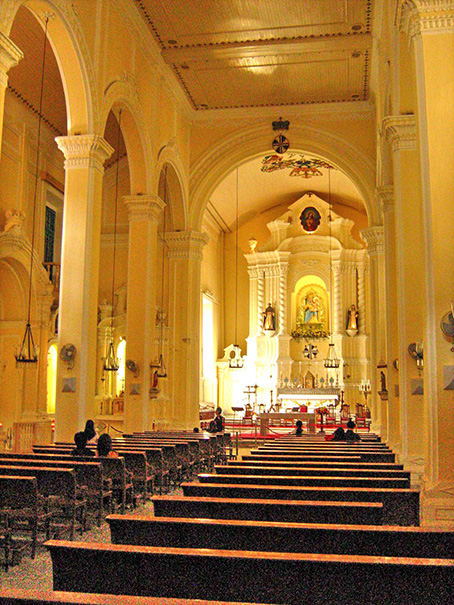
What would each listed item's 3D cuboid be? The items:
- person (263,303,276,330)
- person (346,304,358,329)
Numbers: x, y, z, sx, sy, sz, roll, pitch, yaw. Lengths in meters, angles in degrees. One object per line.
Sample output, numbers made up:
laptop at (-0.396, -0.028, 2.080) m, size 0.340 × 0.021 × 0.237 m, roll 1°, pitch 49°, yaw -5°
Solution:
person at (1.818, 0.612, 25.636) m, size 0.464 × 1.161 × 0.450 m, roll -3°, pitch -14°, yaw 10°
person at (5.170, 0.646, 25.090) m, size 0.524 × 1.108 × 0.460 m, roll -2°, pitch -14°, yaw 6°
